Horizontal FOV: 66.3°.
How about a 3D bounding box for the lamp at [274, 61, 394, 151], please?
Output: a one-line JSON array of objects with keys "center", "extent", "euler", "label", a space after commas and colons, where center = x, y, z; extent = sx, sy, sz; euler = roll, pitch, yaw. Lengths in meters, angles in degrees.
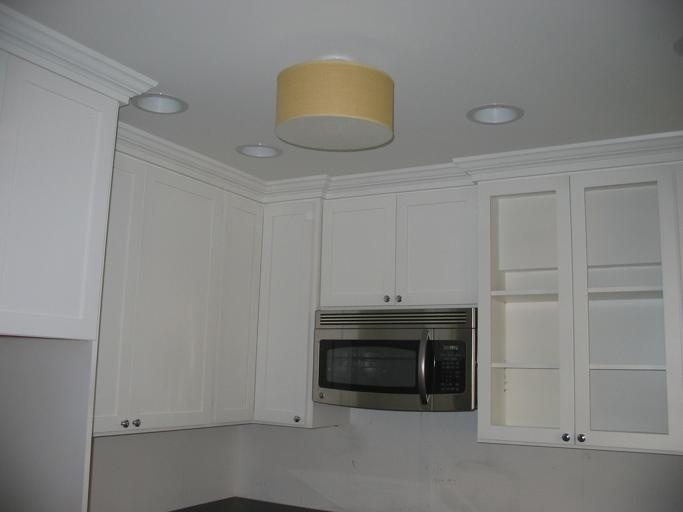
[{"center": [-0.031, -0.530, 1.866], "extent": [0.413, 0.202, 0.323], "euler": [0, -10, 2], "label": "lamp"}]
